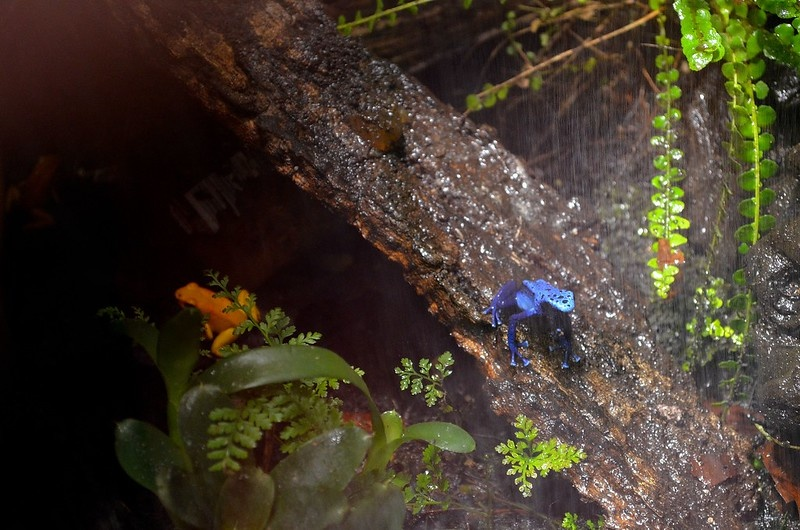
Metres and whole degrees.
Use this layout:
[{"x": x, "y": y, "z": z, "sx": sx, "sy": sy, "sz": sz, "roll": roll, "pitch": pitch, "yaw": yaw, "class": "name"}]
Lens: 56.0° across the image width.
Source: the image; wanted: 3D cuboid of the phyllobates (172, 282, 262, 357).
[{"x": -0.973, "y": 0.291, "z": 4.203, "sx": 0.386, "sy": 0.390, "sz": 0.404, "roll": -28, "pitch": -23, "yaw": -5, "class": "phyllobates"}]

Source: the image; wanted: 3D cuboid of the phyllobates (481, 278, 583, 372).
[{"x": 0.771, "y": 0.342, "z": 4.203, "sx": 0.476, "sy": 0.526, "sz": 0.307, "roll": -31, "pitch": -22, "yaw": 4, "class": "phyllobates"}]
